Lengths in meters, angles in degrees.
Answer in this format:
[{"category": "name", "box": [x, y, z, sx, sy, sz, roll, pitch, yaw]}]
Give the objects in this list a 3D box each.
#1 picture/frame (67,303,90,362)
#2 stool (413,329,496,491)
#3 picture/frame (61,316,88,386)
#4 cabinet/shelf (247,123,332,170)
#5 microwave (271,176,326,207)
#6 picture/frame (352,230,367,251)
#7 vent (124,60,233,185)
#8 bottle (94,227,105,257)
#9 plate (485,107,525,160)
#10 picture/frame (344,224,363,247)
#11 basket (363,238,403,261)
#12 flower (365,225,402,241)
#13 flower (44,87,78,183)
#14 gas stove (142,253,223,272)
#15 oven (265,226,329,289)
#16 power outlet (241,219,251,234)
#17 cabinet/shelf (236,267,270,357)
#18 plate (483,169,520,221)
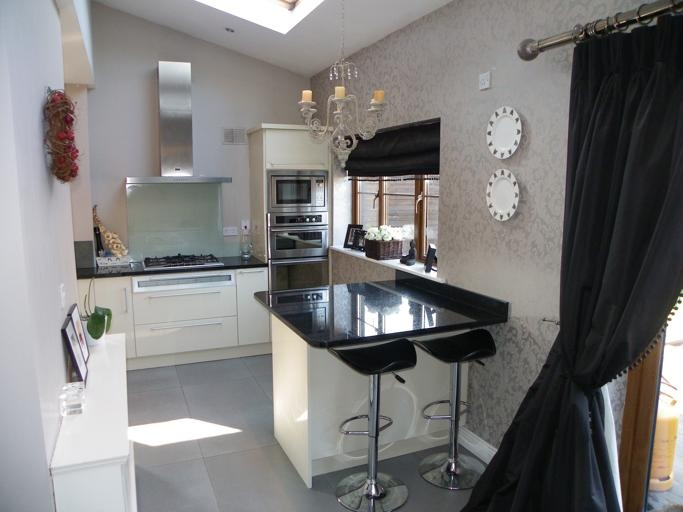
[{"category": "picture/frame", "box": [-1.632, 0.493, 3.236, 0.023, 0.252, 0.332, -10, 15, -15]}, {"category": "stool", "box": [0.732, 1.003, 3.550, 0.529, 1.019, 0.532, -4, 13, -15]}, {"category": "picture/frame", "box": [-1.541, 0.566, 3.007, 0.035, 0.364, 0.353, -18, 13, -11]}, {"category": "cabinet/shelf", "box": [-0.519, -1.143, 5.514, 0.731, 0.509, 0.730, -1, 7, -28]}, {"category": "microwave", "box": [-0.457, -0.714, 5.621, 0.527, 0.354, 0.330, -1, 4, -20]}, {"category": "picture/frame", "box": [0.186, -0.160, 5.458, 0.041, 0.192, 0.159, 6, -5, -43]}, {"category": "vent", "box": [-1.732, -1.390, 5.569, 1.064, 1.296, 1.082, -5, 12, -32]}, {"category": "bottle", "box": [-2.533, -0.159, 5.458, 0.079, 0.319, 0.155, -5, 13, -20]}, {"category": "plate", "box": [1.060, -0.812, 3.408, 0.036, 0.293, 0.263, -1, -6, -25]}, {"category": "picture/frame", "box": [0.131, -0.204, 5.530, 0.210, 0.227, 0.141, -4, -12, 43]}, {"category": "basket", "box": [0.417, -0.060, 4.975, 0.223, 0.153, 0.229, -2, 7, -27]}, {"category": "flower", "box": [0.403, -0.208, 4.944, 0.196, 0.114, 0.191, -2, 4, -26]}, {"category": "flower", "box": [-1.444, -0.629, 2.695, 0.126, 0.438, 0.255, -2, 1, -9]}, {"category": "gas stove", "box": [-1.686, 0.071, 5.530, 0.775, 0.057, 0.636, -6, 14, -20]}, {"category": "oven", "box": [-0.594, -0.022, 5.963, 0.640, 1.023, 0.637, -2, 4, -26]}, {"category": "power outlet", "box": [-1.111, -0.340, 6.056, 0.109, 0.161, 0.054, -10, 15, -35]}, {"category": "cabinet/shelf", "box": [-0.945, 0.539, 5.560, 0.363, 0.808, 0.151, -5, 13, -17]}, {"category": "plate", "box": [1.055, -0.403, 3.444, 0.034, 0.293, 0.264, 0, -10, -23]}]
